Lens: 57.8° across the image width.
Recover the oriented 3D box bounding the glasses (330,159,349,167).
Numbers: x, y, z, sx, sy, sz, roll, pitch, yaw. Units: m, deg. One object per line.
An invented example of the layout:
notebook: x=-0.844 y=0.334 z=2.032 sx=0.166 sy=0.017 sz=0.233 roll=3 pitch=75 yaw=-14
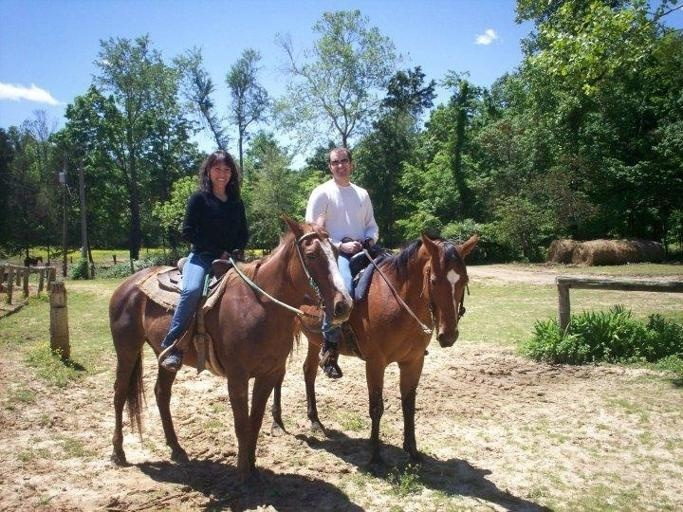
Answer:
glasses: x=-0.037 y=-1.905 z=12.914 sx=0.395 sy=0.161 sz=0.153 roll=1 pitch=1 yaw=8

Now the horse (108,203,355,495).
horse: x=-2.416 y=2.105 z=12.320 sx=5.977 sy=5.042 sz=1.781 roll=-1 pitch=-4 yaw=32
